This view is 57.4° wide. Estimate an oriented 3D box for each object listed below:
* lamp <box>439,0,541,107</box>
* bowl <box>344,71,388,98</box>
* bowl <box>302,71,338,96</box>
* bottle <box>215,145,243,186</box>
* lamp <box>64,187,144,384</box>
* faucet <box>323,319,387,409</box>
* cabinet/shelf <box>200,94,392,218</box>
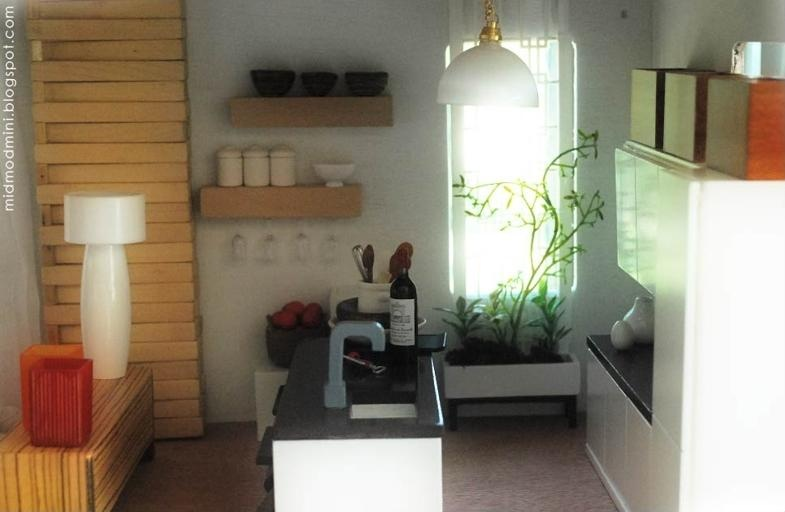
[{"bbox_3d":[0.464,-0.925,3.503,0.528,0.569,0.518,-2,9,-7],"label":"lamp"},{"bbox_3d":[-0.174,-1.149,4.750,0.194,0.121,0.221,1,6,5],"label":"bowl"},{"bbox_3d":[-0.496,-1.150,4.748,0.193,0.129,0.183,0,8,0],"label":"bowl"},{"bbox_3d":[-1.109,-0.616,4.889,0.178,0.262,0.165,1,14,0],"label":"bottle"},{"bbox_3d":[-1.696,0.179,4.384,0.467,1.164,0.248,-8,10,-20],"label":"lamp"},{"bbox_3d":[-0.188,0.510,3.426,0.281,0.413,0.217,1,11,32],"label":"faucet"},{"bbox_3d":[-0.707,-0.763,5.090,1.315,0.864,0.699,-1,20,-11],"label":"cabinet/shelf"}]
